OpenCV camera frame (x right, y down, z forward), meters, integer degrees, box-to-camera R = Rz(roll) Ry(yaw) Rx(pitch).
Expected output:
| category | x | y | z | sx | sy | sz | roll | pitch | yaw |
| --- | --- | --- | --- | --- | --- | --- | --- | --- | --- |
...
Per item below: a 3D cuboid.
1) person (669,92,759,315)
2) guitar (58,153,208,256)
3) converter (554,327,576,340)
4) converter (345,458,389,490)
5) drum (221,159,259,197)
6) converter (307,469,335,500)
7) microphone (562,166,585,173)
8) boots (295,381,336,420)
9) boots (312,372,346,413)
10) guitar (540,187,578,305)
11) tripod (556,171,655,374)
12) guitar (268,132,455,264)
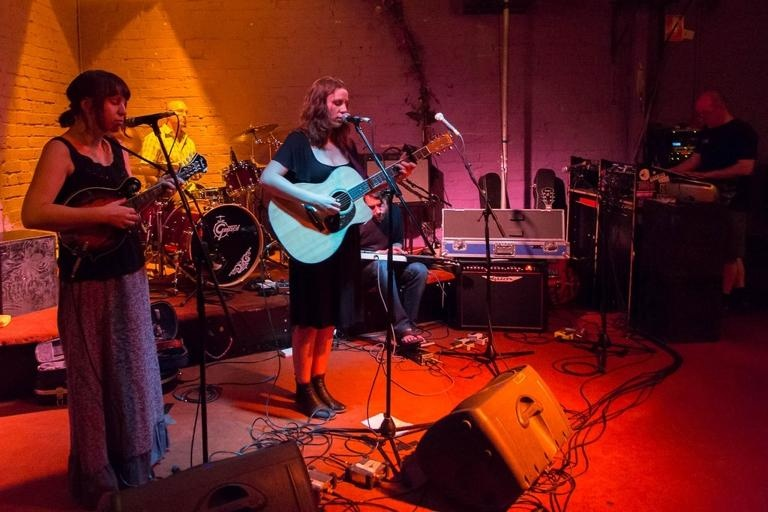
| category | x | y | z | sx | sy | sz | roll | pitch | yaw |
| --- | --- | --- | --- | --- | --- | --- | --- | --- | --- |
| person | 3.356 | -0.563 | 6.125 | 0.686 | 2.170 | 1.453 | -3 | 4 | 26 |
| guitar | -1.651 | -0.380 | 3.917 | 0.426 | 0.125 | 1.079 | -12 | 35 | 25 |
| converter | 1.736 | 0.734 | 5.741 | 0.150 | 0.049 | 0.108 | -7 | 10 | -28 |
| converter | -0.097 | 1.379 | 3.824 | 0.186 | 0.080 | 0.151 | 5 | 7 | 25 |
| drum | -1.621 | -0.937 | 6.999 | 0.448 | 0.313 | 0.452 | 0 | 16 | 0 |
| converter | -0.396 | 1.409 | 3.736 | 0.168 | 0.104 | 0.177 | -4 | 3 | 11 |
| microphone | 1.859 | -0.865 | 5.948 | 0.174 | 0.055 | 0.302 | -4 | 3 | 15 |
| boots | -0.510 | 1.049 | 4.477 | 0.368 | 0.252 | 0.138 | 11 | 5 | 19 |
| boots | -0.355 | 1.033 | 4.502 | 0.388 | 0.264 | 0.142 | 4 | 3 | 21 |
| guitar | 2.003 | -0.074 | 6.917 | 0.150 | 1.274 | 0.493 | -15 | 5 | -26 |
| tripod | 2.546 | -0.005 | 6.217 | 0.680 | 2.051 | 0.980 | -22 | 5 | 4 |
| guitar | -0.188 | -0.453 | 4.503 | 1.463 | 0.608 | 0.150 | -31 | 8 | -9 |
